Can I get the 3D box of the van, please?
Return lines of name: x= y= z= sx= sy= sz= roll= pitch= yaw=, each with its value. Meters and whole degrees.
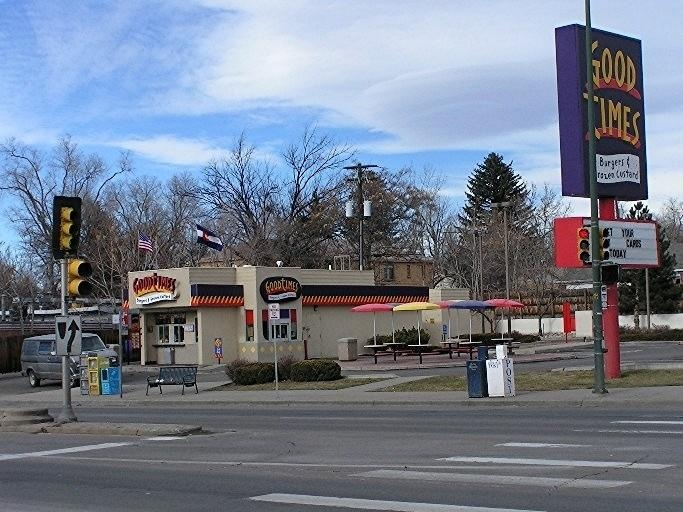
van: x=-12.108 y=4.604 z=45.075 sx=4.980 sy=2.636 sz=3.098 roll=-7 pitch=-7 yaw=38

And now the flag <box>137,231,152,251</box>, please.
flag: x=-10.943 y=-0.778 z=56.708 sx=0.616 sy=1.140 sz=2.765 roll=-2 pitch=-5 yaw=-9

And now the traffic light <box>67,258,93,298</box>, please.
traffic light: x=-7.318 y=0.648 z=28.413 sx=0.685 sy=1.060 sz=0.772 roll=-4 pitch=-4 yaw=5

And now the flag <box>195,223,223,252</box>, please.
flag: x=-7.316 y=-0.949 z=56.117 sx=1.141 sy=1.476 sz=3.213 roll=-3 pitch=-5 yaw=-5

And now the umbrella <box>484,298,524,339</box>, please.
umbrella: x=10.360 y=4.194 z=65.682 sx=2.280 sy=2.536 sz=2.395 roll=-3 pitch=-6 yaw=16

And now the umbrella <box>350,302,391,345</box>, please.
umbrella: x=1.479 y=3.687 z=52.428 sx=2.197 sy=2.247 sz=2.231 roll=1 pitch=-1 yaw=18

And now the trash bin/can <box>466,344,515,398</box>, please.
trash bin/can: x=4.617 y=3.644 z=31.723 sx=1.468 sy=1.587 sz=0.921 roll=-4 pitch=-4 yaw=7

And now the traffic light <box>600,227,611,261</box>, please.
traffic light: x=8.047 y=-0.340 z=31.344 sx=0.263 sy=0.994 sz=0.557 roll=-4 pitch=-4 yaw=18

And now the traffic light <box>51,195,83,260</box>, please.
traffic light: x=-7.669 y=-0.777 z=28.376 sx=0.750 sy=1.758 sz=0.604 roll=-2 pitch=-4 yaw=-17

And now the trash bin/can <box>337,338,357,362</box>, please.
trash bin/can: x=0.283 y=4.954 z=53.117 sx=0.923 sy=1.138 sz=0.836 roll=-3 pitch=-4 yaw=-9

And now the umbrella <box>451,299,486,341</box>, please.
umbrella: x=7.485 y=3.954 z=61.199 sx=2.251 sy=2.695 sz=2.375 roll=1 pitch=-4 yaw=-7

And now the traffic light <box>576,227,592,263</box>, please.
traffic light: x=7.533 y=-0.327 z=31.674 sx=0.392 sy=1.150 sz=0.831 roll=-4 pitch=-4 yaw=13
